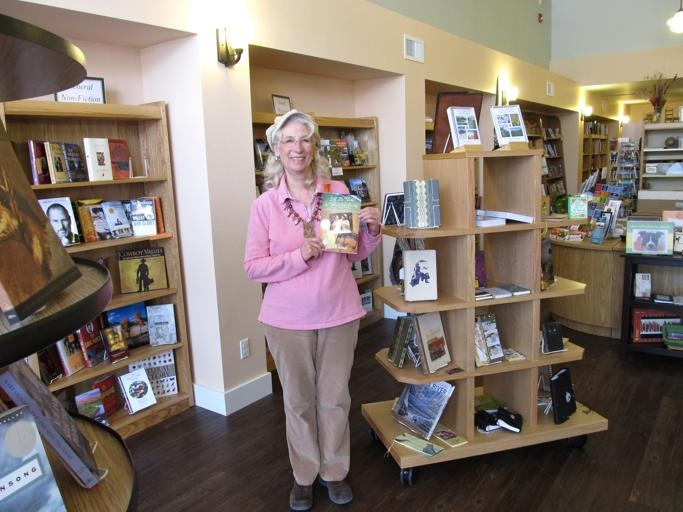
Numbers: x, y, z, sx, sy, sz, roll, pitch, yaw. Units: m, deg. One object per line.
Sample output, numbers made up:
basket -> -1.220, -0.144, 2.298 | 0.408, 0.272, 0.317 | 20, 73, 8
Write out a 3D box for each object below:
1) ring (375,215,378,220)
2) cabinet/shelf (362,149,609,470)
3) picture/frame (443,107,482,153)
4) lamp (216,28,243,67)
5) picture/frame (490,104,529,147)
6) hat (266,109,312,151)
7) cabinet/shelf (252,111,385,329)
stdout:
ring -> 0.185, -0.204, 2.552 | 0.019, 0.019, 0.019 | -5, -1, 0
cabinet/shelf -> 0.848, 0.297, 2.947 | 1.358, 1.840, 0.619 | -5, 11, -13
picture/frame -> 0.717, -0.750, 2.805 | 0.188, 0.268, 0.340 | 0, 12, 13
lamp -> -0.798, -1.471, 3.383 | 0.171, 0.255, 0.130 | -7, 12, -22
picture/frame -> 1.001, -0.778, 2.856 | 0.209, 0.252, 0.293 | 1, 12, 18
hat -> -0.287, -0.674, 2.593 | 0.213, 0.220, 0.358 | -12, 15, -40
cabinet/shelf -> -0.171, -0.199, 2.563 | 0.712, 1.116, 0.423 | -5, 11, -13
